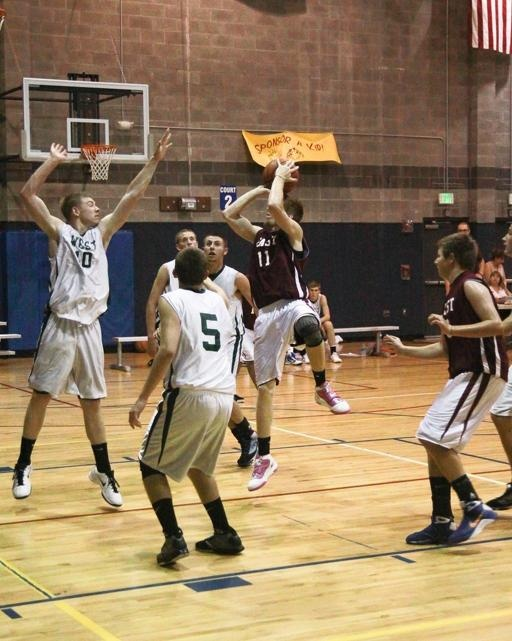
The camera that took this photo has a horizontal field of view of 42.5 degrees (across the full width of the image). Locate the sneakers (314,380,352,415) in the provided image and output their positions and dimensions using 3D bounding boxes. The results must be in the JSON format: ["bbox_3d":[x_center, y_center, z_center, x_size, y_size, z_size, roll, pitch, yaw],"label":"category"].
[{"bbox_3d":[0.520,0.487,4.264,0.116,0.152,0.332,-29,21,-22],"label":"sneakers"}]

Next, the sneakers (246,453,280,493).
[{"bbox_3d":[0.023,0.893,3.934,0.101,0.141,0.318,-25,7,32],"label":"sneakers"}]

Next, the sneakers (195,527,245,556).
[{"bbox_3d":[-0.148,0.944,2.861,0.225,0.100,0.089,1,3,35],"label":"sneakers"}]

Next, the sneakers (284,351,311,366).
[{"bbox_3d":[0.696,0.664,11.273,0.225,0.287,0.651,1,-8,-11],"label":"sneakers"}]

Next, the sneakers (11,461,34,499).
[{"bbox_3d":[-1.300,0.894,3.658,0.085,0.098,0.250,-6,13,-8],"label":"sneakers"}]

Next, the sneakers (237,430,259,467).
[{"bbox_3d":[-0.044,0.942,4.765,0.092,0.119,0.276,-28,23,38],"label":"sneakers"}]

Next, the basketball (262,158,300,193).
[{"bbox_3d":[0.145,-0.923,4.230,0.261,0.301,0.256,-2,12,-7],"label":"basketball"}]

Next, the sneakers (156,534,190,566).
[{"bbox_3d":[-0.355,0.921,2.605,0.081,0.139,0.204,-2,-18,-29],"label":"sneakers"}]
